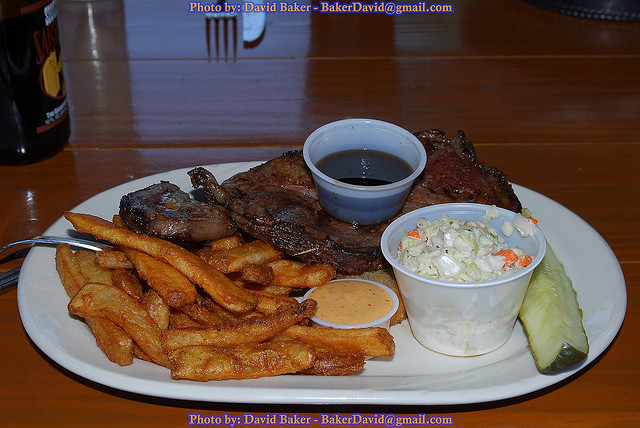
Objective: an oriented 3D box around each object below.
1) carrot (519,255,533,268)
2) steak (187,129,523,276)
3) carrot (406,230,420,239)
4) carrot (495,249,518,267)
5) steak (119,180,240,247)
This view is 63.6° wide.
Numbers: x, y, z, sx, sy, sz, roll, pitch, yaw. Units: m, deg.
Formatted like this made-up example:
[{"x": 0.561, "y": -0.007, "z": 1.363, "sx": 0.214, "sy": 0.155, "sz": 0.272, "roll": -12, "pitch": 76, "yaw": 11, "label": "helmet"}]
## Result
[{"x": 0.883, "y": 0.200, "z": 2.207, "sx": 0.051, "sy": 0.015, "sz": 0.049, "roll": -39, "pitch": 51, "yaw": -4, "label": "carrot"}, {"x": 0.157, "y": -0.026, "z": 2.722, "sx": 1.638, "sy": 0.232, "sz": 0.770, "roll": 3, "pitch": 41, "yaw": -4, "label": "steak"}, {"x": 0.428, "y": 0.092, "z": 2.361, "sx": 0.042, "sy": 0.010, "sz": 0.038, "roll": 9, "pitch": 40, "yaw": 14, "label": "carrot"}, {"x": 0.808, "y": 0.185, "z": 2.221, "sx": 0.080, "sy": 0.029, "sz": 0.083, "roll": -12, "pitch": 47, "yaw": -14, "label": "carrot"}, {"x": -0.685, "y": -0.030, "z": 2.900, "sx": 0.744, "sy": 0.861, "sz": 0.197, "roll": 10, "pitch": 85, "yaw": -13, "label": "steak"}]
